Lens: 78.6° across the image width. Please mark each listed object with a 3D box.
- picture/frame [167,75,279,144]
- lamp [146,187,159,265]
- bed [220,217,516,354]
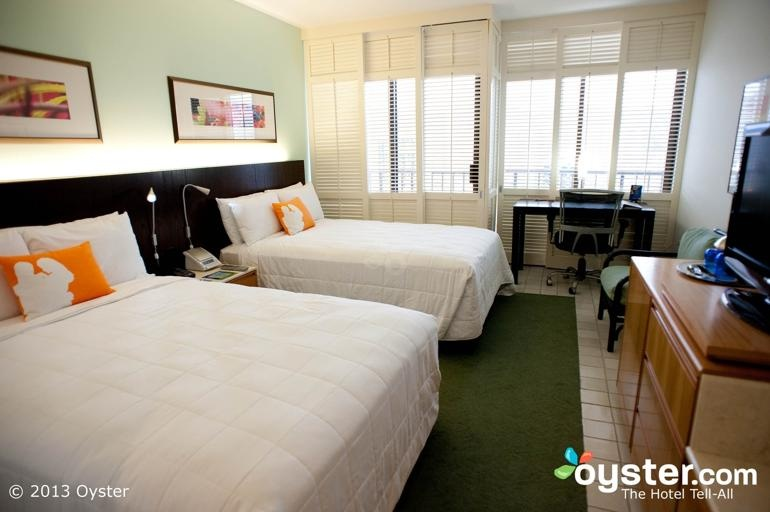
[{"bbox_3d":[-1.636,-1.490,4.891,0.056,0.589,1.371,7,16,28],"label":"picture/frame"},{"bbox_3d":[-2.007,-0.266,4.103,0.072,0.658,0.247,-6,16,-16],"label":"lamp"},{"bbox_3d":[-0.118,0.127,4.523,2.110,0.546,1.271,4,20,15],"label":"bed"}]
